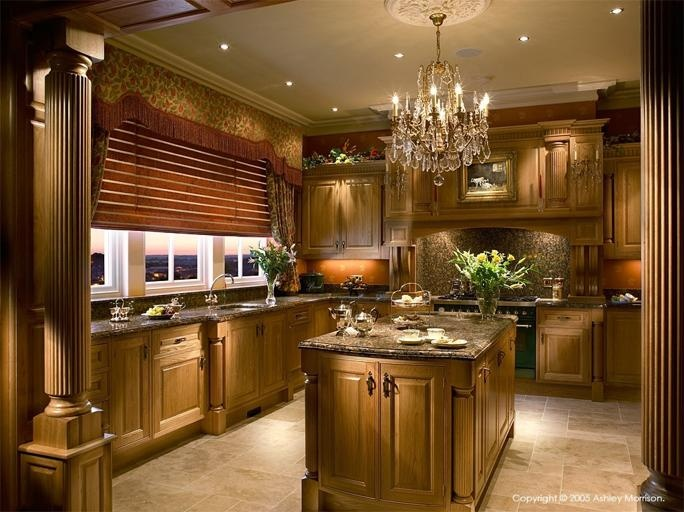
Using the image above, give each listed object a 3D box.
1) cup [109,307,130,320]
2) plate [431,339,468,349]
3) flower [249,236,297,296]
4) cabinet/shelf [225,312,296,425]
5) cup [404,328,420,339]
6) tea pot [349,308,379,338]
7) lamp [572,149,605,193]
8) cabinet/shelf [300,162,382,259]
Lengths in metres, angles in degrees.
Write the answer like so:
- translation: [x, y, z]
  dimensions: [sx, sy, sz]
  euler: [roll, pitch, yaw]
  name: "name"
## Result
- translation: [-2.047, 0.533, 4.543]
  dimensions: [0.137, 0.121, 0.158]
  euler: [0, 1, 10]
  name: "cup"
- translation: [0.757, 0.616, 3.472]
  dimensions: [0.246, 0.060, 0.181]
  euler: [-3, -1, 11]
  name: "plate"
- translation: [-0.875, 0.110, 6.692]
  dimensions: [0.687, 0.905, 0.760]
  euler: [0, 1, -24]
  name: "flower"
- translation: [-0.953, 1.278, 5.590]
  dimensions: [0.439, 1.148, 1.181]
  euler: [-2, -1, 21]
  name: "cabinet/shelf"
- translation: [0.517, 0.579, 3.668]
  dimensions: [0.082, 0.039, 0.084]
  euler: [-1, -4, 0]
  name: "cup"
- translation: [0.193, 0.540, 3.898]
  dimensions: [0.251, 0.208, 0.160]
  euler: [0, -2, -9]
  name: "tea pot"
- translation: [3.061, -1.096, 6.149]
  dimensions: [0.341, 0.548, 0.085]
  euler: [-2, 0, 20]
  name: "lamp"
- translation: [0.046, -0.732, 7.447]
  dimensions: [1.371, 1.674, 0.617]
  euler: [0, 0, 17]
  name: "cabinet/shelf"
